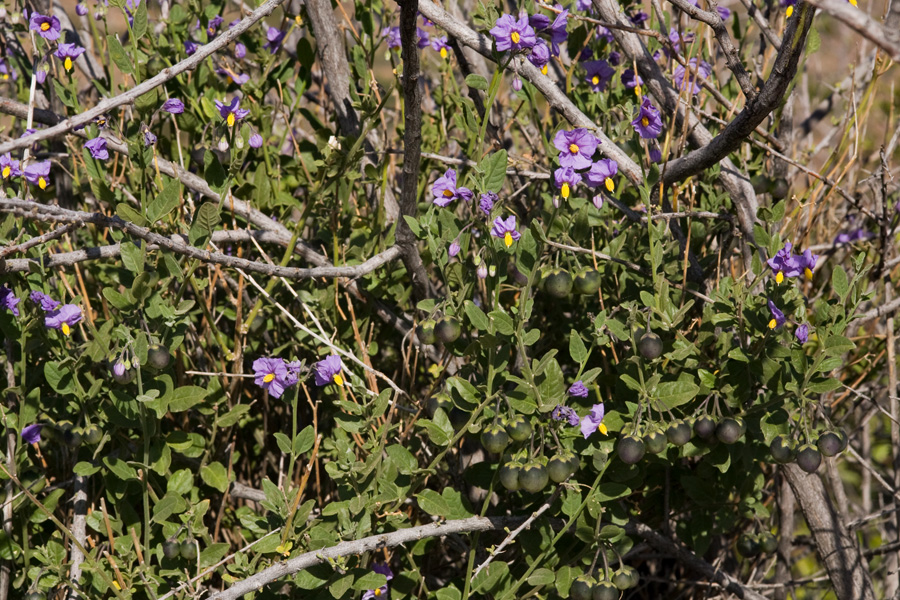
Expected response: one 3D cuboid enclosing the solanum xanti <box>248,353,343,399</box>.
[{"bbox_3d":[-0.553,0.255,4.238,0.269,0.150,0.176,-8,59,-8],"label":"solanum xanti"}]
